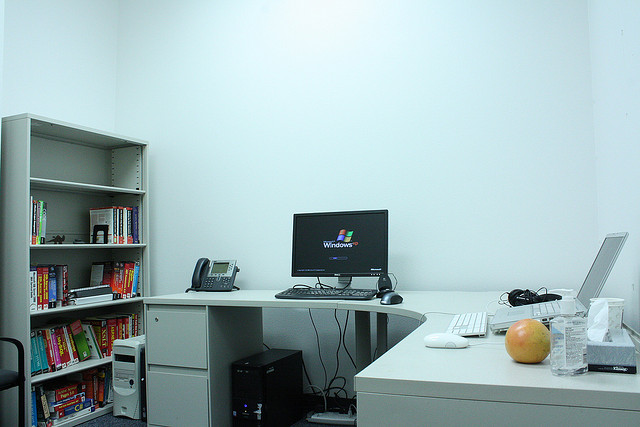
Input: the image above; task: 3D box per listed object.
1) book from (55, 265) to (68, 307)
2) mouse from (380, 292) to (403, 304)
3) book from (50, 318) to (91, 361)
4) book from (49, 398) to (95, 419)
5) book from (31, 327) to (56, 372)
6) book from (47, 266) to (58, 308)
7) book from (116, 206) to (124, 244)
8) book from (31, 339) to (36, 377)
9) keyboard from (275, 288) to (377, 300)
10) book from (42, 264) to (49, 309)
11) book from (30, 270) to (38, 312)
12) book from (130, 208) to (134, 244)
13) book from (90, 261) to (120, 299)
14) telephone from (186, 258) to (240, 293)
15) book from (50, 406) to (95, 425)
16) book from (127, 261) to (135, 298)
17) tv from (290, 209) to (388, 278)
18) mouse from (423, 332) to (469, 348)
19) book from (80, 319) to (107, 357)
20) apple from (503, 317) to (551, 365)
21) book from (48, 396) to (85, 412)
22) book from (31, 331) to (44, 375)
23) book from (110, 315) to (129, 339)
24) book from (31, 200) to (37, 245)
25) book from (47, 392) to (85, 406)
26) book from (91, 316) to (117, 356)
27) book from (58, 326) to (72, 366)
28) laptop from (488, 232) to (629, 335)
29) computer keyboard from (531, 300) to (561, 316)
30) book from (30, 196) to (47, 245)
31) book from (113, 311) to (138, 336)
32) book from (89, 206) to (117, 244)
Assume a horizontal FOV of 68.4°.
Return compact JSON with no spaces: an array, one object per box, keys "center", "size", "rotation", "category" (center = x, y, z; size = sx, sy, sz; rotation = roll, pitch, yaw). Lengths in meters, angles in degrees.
[{"center":[-1.838,0.517,3.338],"size":[0.068,0.288,0.074],"rotation":[-1,2,-21],"category":"book"},{"center":[0.401,0.488,2.694],"size":[0.121,0.053,0.100],"rotation":[0,1,14],"category":"mouse"},{"center":[-1.819,0.932,3.419],"size":[0.088,0.261,0.239],"rotation":[-31,-26,16],"category":"book"},{"center":[-1.768,1.378,3.315],"size":[0.203,0.046,0.204],"rotation":[-11,-10,41],"category":"book"},{"center":[-1.911,0.947,3.229],"size":[0.089,0.239,0.268],"rotation":[-13,-2,-30],"category":"book"},{"center":[-1.874,0.523,3.282],"size":[0.106,0.272,0.293],"rotation":[-1,3,-29],"category":"book"},{"center":[-1.560,0.101,3.654],"size":[0.052,0.358,0.284],"rotation":[-1,0,-21],"category":"book"},{"center":[-1.935,0.994,3.166],"size":[0.024,0.193,0.050],"rotation":[-1,2,-27],"category":"book"},{"center":[0.047,0.502,2.962],"size":[0.610,0.046,0.296],"rotation":[0,1,14],"category":"keyboard"},{"center":[-1.898,0.512,3.245],"size":[0.035,0.291,0.052],"rotation":[-1,2,-19],"category":"book"},{"center":[-1.931,0.519,3.165],"size":[0.027,0.272,0.064],"rotation":[0,2,-9],"category":"book"},{"center":[-1.497,0.098,3.726],"size":[0.028,0.276,0.059],"rotation":[-1,2,-21],"category":"book"},{"center":[-1.688,0.535,3.690],"size":[0.271,0.338,0.037],"rotation":[-3,-9,11],"category":"book"},{"center":[-0.767,0.438,3.337],"size":[0.337,0.207,0.309],"rotation":[-4,8,10],"category":"telephone"},{"center":[-1.754,1.423,3.300],"size":[0.167,0.033,0.165],"rotation":[-3,-3,32],"category":"book"},{"center":[-1.498,0.528,3.706],"size":[0.055,0.265,0.044],"rotation":[-1,2,-36],"category":"book"},{"center":[0.122,0.202,3.185],"size":[0.654,0.458,0.183],"rotation":[0,2,8],"category":"tv"},{"center":[0.515,0.527,1.940],"size":[0.118,0.033,0.076],"rotation":[-4,-2,8],"category":"mouse"},{"center":[-1.705,0.948,3.528],"size":[0.220,0.205,0.116],"rotation":[-19,-1,31],"category":"book"},{"center":[0.813,0.497,1.833],"size":[0.193,0.159,0.165],"rotation":[2,2,11],"category":"apple"},{"center":[-1.795,1.339,3.300],"size":[0.164,0.036,0.160],"rotation":[-3,-4,-31],"category":"book"},{"center":[-1.942,0.955,3.196],"size":[0.070,0.283,0.057],"rotation":[1,2,23],"category":"book"},{"center":[-1.558,0.846,3.682],"size":[0.128,0.214,0.225],"rotation":[1,2,-34],"category":"book"},{"center":[-1.944,0.065,3.192],"size":[0.031,0.283,0.053],"rotation":[-1,2,-20],"category":"book"},{"center":[-1.802,1.307,3.302],"size":[0.151,0.030,0.151],"rotation":[-1,1,32],"category":"book"},{"center":[-1.636,0.939,3.545],"size":[0.155,0.260,0.283],"rotation":[-2,0,-40],"category":"book"},{"center":[-1.825,0.969,3.377],"size":[0.036,0.321,0.027],"rotation":[-15,0,-16],"category":"book"},{"center":[1.071,0.389,2.161],"size":[0.556,0.371,0.600],"rotation":[-4,-4,28],"category":"laptop"},{"center":[1.005,0.419,2.109],"size":[0.109,0.041,0.286],"rotation":[1,1,23],"category":"computer keyboard"},{"center":[-1.943,0.056,3.231],"size":[0.115,0.290,0.315],"rotation":[3,-10,-20],"category":"book"},{"center":[-1.585,0.889,3.746],"size":[0.233,0.118,0.209],"rotation":[-1,-3,32],"category":"book"},{"center":[-1.690,0.099,3.662],"size":[0.290,0.264,0.159],"rotation":[-2,-3,34],"category":"book"}]
